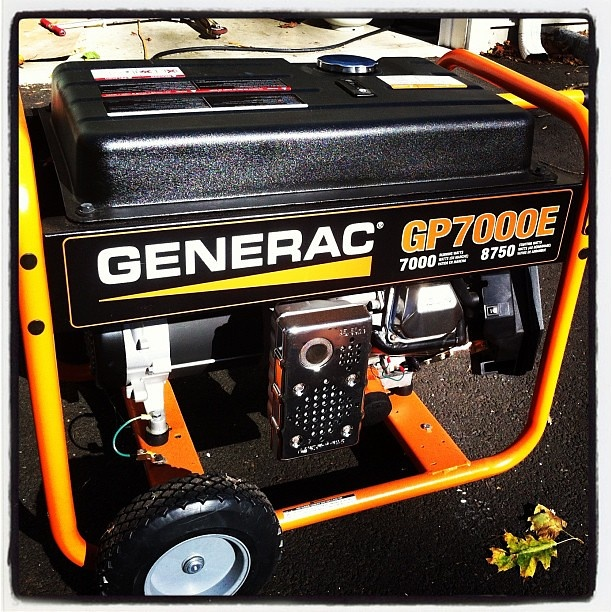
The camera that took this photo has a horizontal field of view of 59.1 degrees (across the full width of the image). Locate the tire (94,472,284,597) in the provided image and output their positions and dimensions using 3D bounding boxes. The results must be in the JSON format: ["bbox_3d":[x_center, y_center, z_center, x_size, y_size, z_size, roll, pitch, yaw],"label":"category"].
[{"bbox_3d":[-0.259,0.522,1.206,0.383,0.354,0.108,-3,28,-16],"label":"tire"}]

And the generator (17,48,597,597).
[{"bbox_3d":[-0.060,-0.036,1.493,1.265,1.083,0.911,-8,27,-20],"label":"generator"}]
